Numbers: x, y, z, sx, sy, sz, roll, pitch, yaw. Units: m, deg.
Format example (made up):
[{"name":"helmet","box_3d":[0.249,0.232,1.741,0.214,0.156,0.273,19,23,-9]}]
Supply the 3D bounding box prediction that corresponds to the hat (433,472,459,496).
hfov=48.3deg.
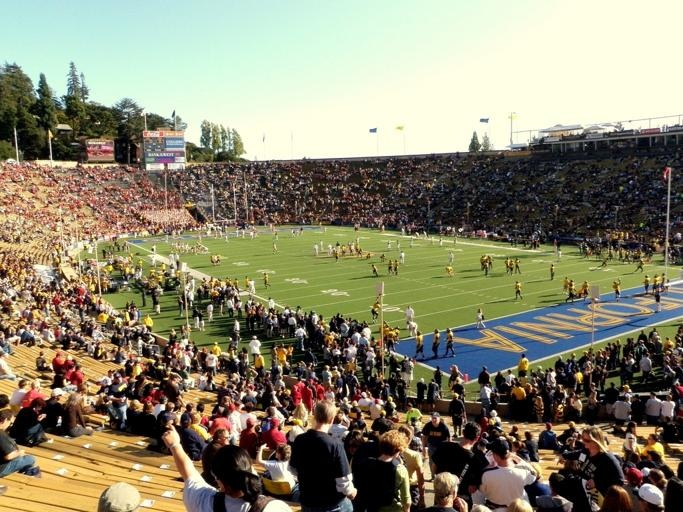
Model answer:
[{"name":"hat","box_3d":[1.807,3.929,13.218,0.346,0.375,0.406,-2,20,9]}]

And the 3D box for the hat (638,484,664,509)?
[{"name":"hat","box_3d":[5.577,4.341,13.787,0.405,0.367,0.297,0,3,19]}]

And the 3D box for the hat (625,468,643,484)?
[{"name":"hat","box_3d":[5.711,4.354,15.004,0.255,0.370,0.176,4,-12,-31]}]
